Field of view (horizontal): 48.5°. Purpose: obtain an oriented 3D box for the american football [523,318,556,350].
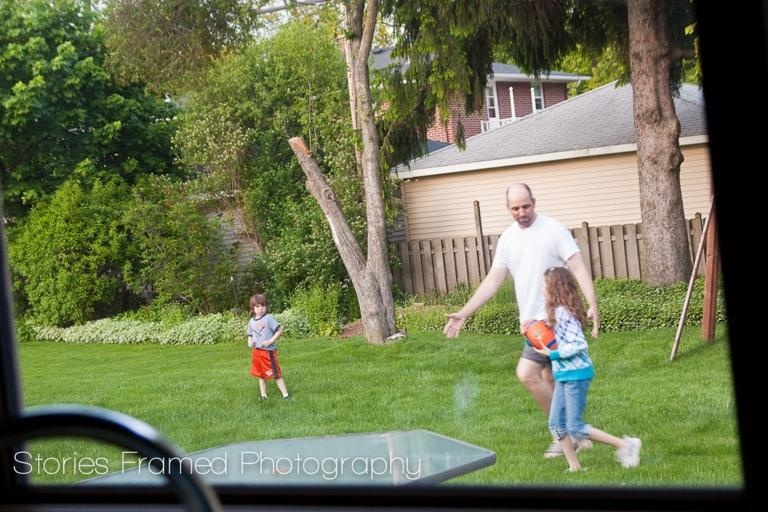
[{"bbox_3d":[1.986,1.009,10.765,0.299,0.398,0.207,-41,-11,6],"label":"american football"}]
